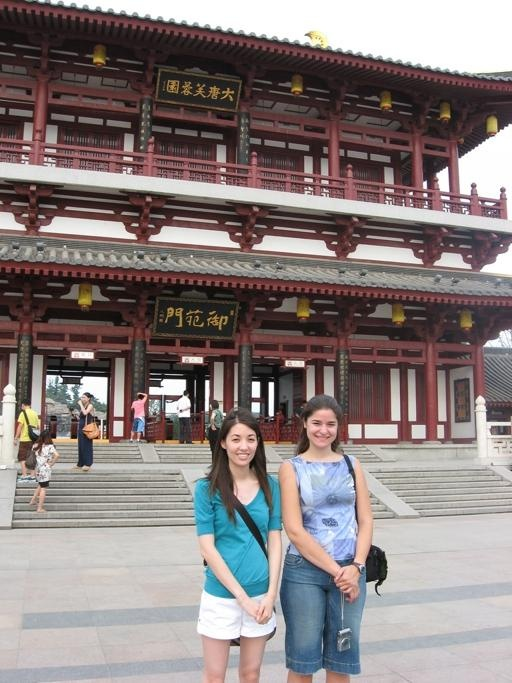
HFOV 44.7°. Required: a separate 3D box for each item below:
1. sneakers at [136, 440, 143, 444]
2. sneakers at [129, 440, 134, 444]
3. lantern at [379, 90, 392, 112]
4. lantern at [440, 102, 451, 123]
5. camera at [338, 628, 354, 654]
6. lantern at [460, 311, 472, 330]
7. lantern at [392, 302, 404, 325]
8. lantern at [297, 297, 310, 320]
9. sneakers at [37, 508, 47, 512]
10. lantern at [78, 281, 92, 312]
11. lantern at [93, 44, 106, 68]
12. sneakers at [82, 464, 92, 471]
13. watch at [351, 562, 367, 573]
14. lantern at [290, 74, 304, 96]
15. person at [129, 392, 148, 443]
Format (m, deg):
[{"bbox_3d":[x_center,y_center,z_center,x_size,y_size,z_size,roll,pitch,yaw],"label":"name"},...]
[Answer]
[{"bbox_3d":[-2.828,2.426,15.115,0.149,0.046,0.089,2,-4,1],"label":"sneakers"},{"bbox_3d":[-3.027,2.427,15.092,0.079,0.134,0.076,6,-8,-23],"label":"sneakers"},{"bbox_3d":[4.132,-7.693,19.958,0.511,0.766,0.522,0,-7,5],"label":"lantern"},{"bbox_3d":[6.298,-7.611,20.794,0.390,0.497,0.721,-4,-10,18],"label":"lantern"},{"bbox_3d":[0.355,1.201,2.504,0.056,0.099,0.047,1,-10,-8],"label":"camera"},{"bbox_3d":[6.057,-0.621,18.005,0.303,0.548,0.393,-3,-10,15],"label":"lantern"},{"bbox_3d":[3.994,-0.754,17.524,0.336,0.521,0.700,-3,-10,12],"label":"lantern"},{"bbox_3d":[1.264,-0.876,16.775,0.323,0.529,0.586,0,-9,-1],"label":"lantern"},{"bbox_3d":[-3.509,2.735,10.162,0.124,0.078,0.305,2,-10,-18],"label":"sneakers"},{"bbox_3d":[-4.141,-1.070,15.071,0.324,0.564,0.613,2,-10,-17],"label":"lantern"},{"bbox_3d":[-4.307,-7.782,17.104,0.399,0.669,0.529,2,-10,-16],"label":"lantern"},{"bbox_3d":[-3.316,2.455,12.142,0.074,0.151,0.198,-7,-31,12],"label":"sneakers"},{"bbox_3d":[0.427,0.917,2.561,0.050,0.052,0.032,-19,27,31],"label":"watch"},{"bbox_3d":[1.236,-7.757,18.907,0.417,0.628,0.738,-1,-9,4],"label":"lantern"},{"bbox_3d":[-2.871,1.837,15.107,0.328,1.138,1.002,1,-10,-12],"label":"person"}]
